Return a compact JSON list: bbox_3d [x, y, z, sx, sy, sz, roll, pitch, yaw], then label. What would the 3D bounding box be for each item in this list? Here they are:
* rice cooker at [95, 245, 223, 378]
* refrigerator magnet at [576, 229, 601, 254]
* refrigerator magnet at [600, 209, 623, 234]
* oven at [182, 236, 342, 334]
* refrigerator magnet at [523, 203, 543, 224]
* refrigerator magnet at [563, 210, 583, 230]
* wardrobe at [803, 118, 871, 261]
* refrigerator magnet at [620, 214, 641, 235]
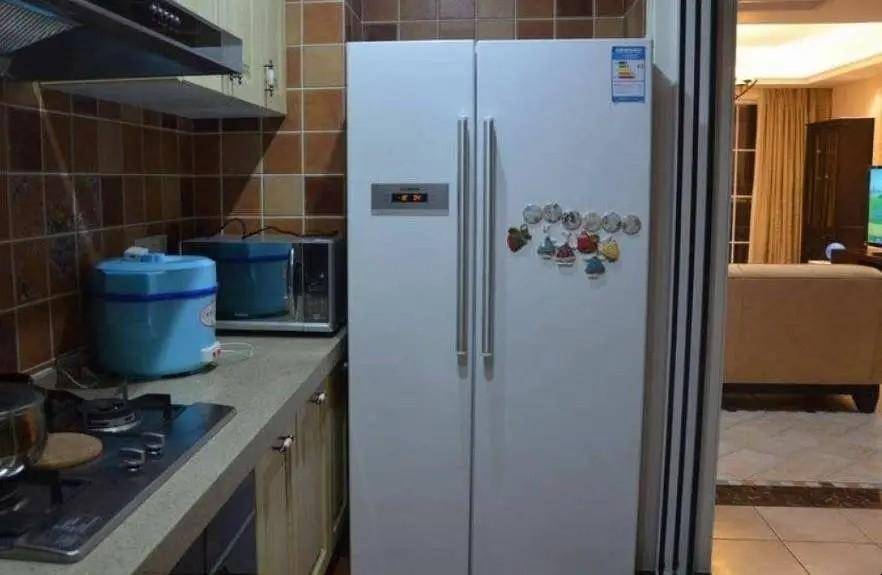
[{"bbox_3d":[-1.065,0.079,2.847,0.468,0.458,0.463,0,7,-7],"label":"rice cooker"},{"bbox_3d":[0.622,-0.197,2.945,0.099,0.110,0.032,0,5,6],"label":"refrigerator magnet"},{"bbox_3d":[0.718,-0.280,2.909,0.082,0.082,0.019,16,3,-1],"label":"refrigerator magnet"},{"bbox_3d":[-0.720,-0.002,3.060,0.660,0.427,0.414,1,10,3],"label":"oven"},{"bbox_3d":[0.387,-0.306,2.937,0.080,0.082,0.012,0,8,-3],"label":"refrigerator magnet"},{"bbox_3d":[0.552,-0.281,2.903,0.078,0.077,0.018,2,5,-3],"label":"refrigerator magnet"},{"bbox_3d":[4.491,-1.106,8.031,0.724,1.581,0.462,8,11,41],"label":"wardrobe"},{"bbox_3d":[0.798,-0.261,2.934,0.086,0.079,0.014,0,8,-3],"label":"refrigerator magnet"}]
